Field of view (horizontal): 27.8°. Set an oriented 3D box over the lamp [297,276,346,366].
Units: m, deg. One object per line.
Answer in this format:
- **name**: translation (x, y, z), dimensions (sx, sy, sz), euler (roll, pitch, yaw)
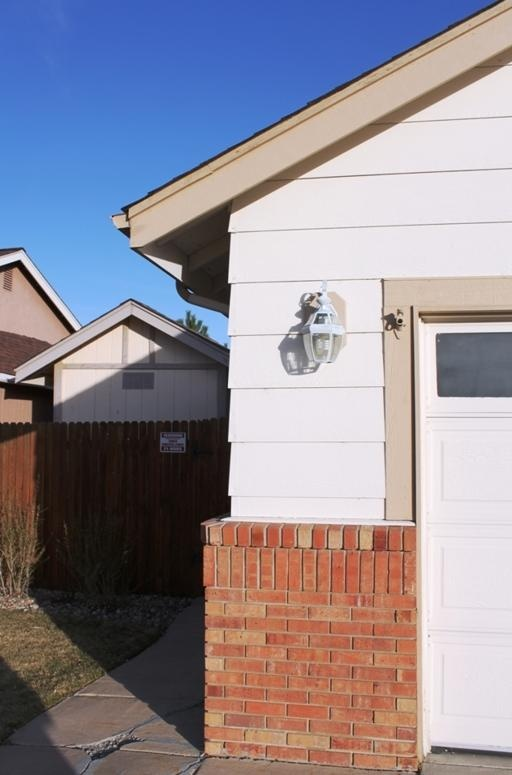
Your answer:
- **lamp**: translation (0.390, -0.394, 6.237), dimensions (0.284, 0.515, 0.298), euler (0, -5, 4)
